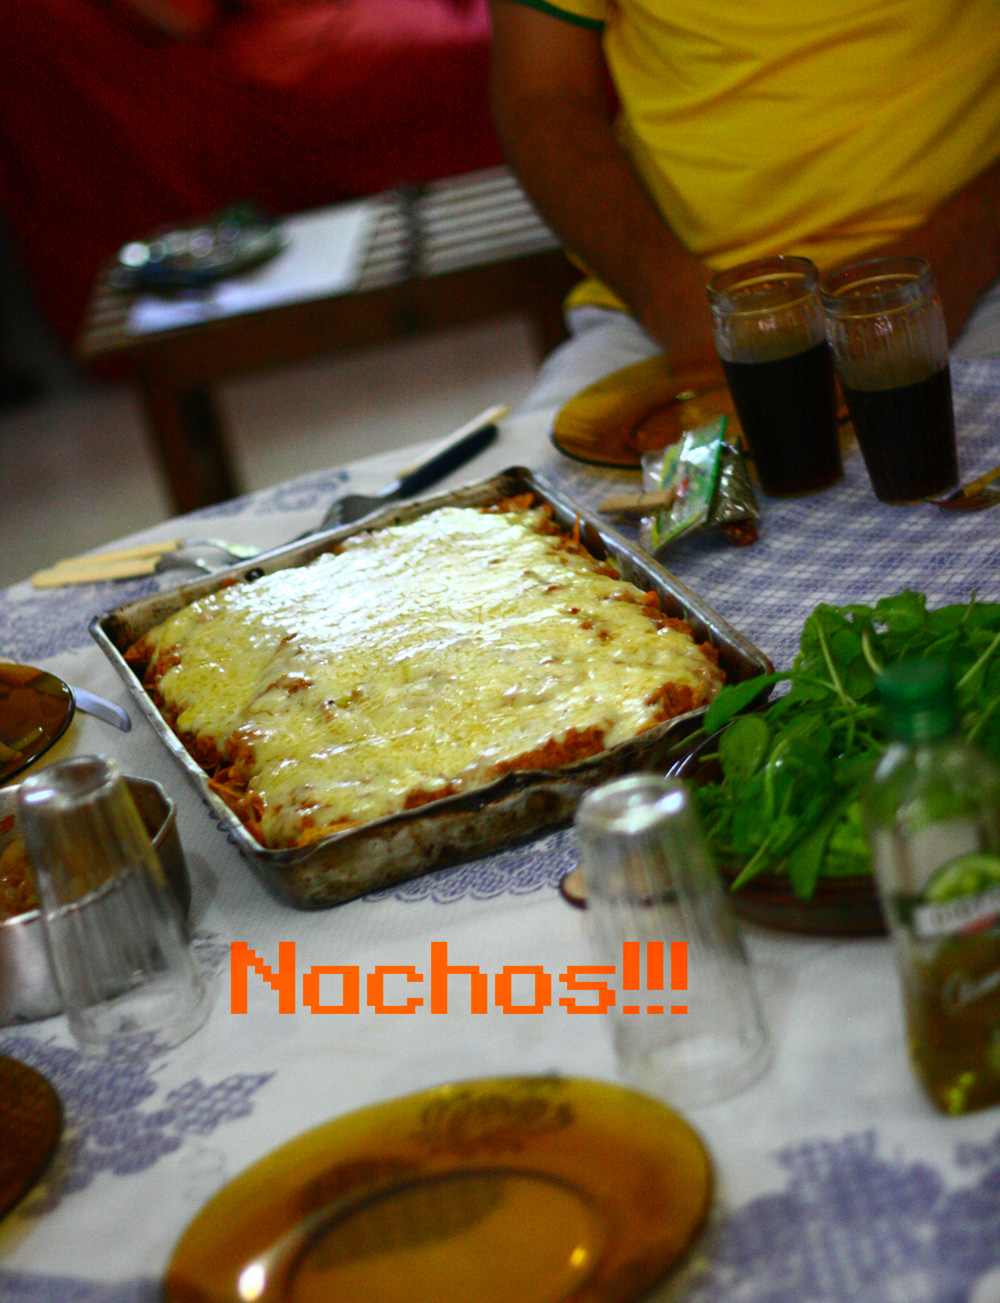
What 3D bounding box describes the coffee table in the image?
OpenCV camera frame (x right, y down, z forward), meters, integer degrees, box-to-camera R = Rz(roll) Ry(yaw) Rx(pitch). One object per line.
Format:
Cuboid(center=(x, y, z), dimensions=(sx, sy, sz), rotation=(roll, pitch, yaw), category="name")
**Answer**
Cuboid(center=(-0.493, -0.871, 2.963), dimensions=(1.336, 0.823, 0.614), rotation=(-16, 52, 0), category="coffee table")
